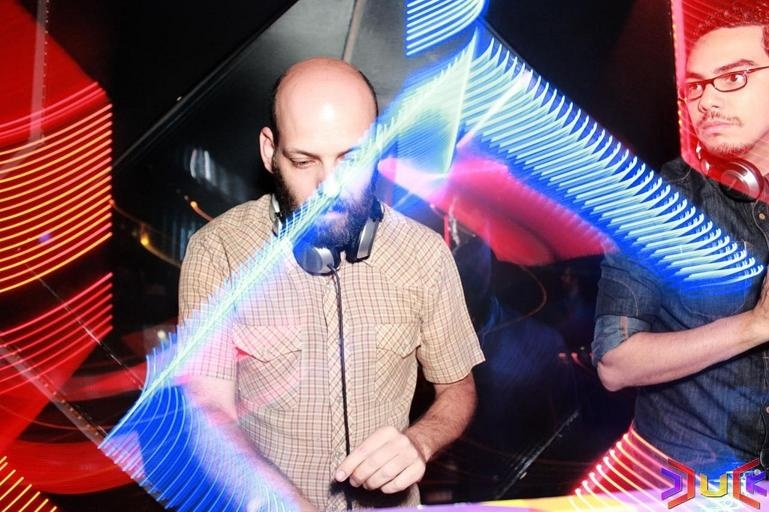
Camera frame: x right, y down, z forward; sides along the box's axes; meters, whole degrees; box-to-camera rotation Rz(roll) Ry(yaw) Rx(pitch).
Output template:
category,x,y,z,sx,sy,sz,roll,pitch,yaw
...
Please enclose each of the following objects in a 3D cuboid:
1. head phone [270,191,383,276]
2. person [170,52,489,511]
category,x,y,z,sx,sy,sz,roll,pitch,yaw
head phone,-0.193,-0.153,2.403,0.323,0.312,0.120,-21,40,-23
person,-0.185,0.098,2.436,1.066,1.496,0.813,17,19,27
